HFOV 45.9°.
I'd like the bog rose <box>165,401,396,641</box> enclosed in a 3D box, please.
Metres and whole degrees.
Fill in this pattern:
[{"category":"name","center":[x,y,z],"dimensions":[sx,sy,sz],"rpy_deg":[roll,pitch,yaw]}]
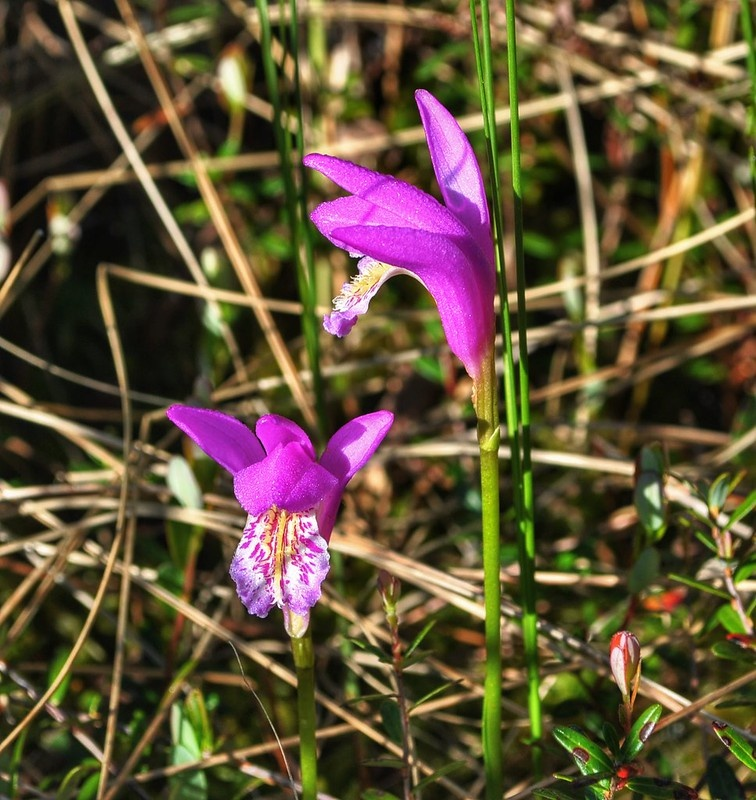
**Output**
[{"category":"bog rose","center":[-0.121,0.206,1.408],"dimensions":[0.338,0.232,0.282],"rpy_deg":[-21,93,-40]}]
